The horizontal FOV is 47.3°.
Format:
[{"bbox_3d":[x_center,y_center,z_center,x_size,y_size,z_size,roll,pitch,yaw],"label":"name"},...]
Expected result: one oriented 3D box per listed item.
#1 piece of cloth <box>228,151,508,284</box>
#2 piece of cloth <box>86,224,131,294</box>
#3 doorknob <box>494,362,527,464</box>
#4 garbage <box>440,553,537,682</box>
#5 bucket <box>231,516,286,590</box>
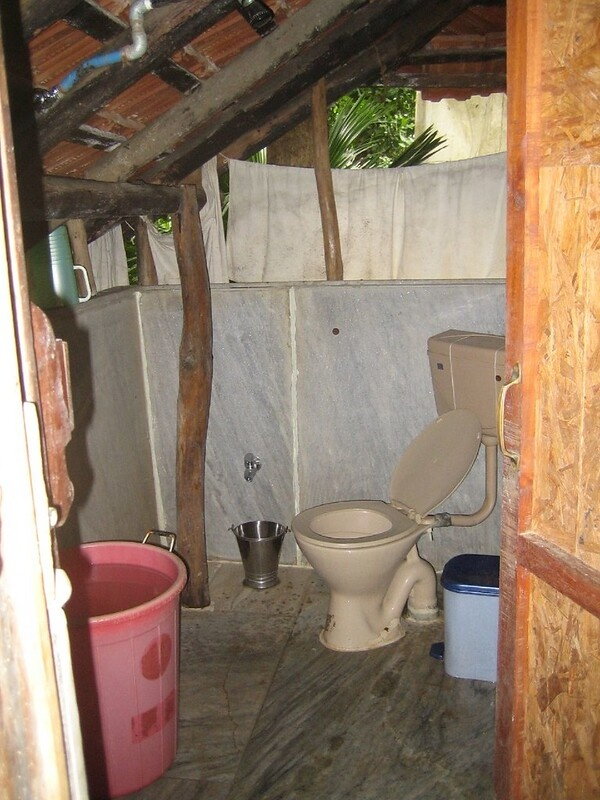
[{"bbox_3d":[0.345,-0.967,3.649,1.489,0.649,0.103,-1,9,0],"label":"piece of cloth"},{"bbox_3d":[-1.061,-0.771,3.829,0.192,0.335,0.031,-2,-3,-19],"label":"piece of cloth"},{"bbox_3d":[0.415,0.034,1.356,0.049,0.207,0.042,1,3,25],"label":"doorknob"},{"bbox_3d":[0.653,0.813,2.495,0.343,0.328,0.258,3,-1,4],"label":"garbage"},{"bbox_3d":[-0.202,0.705,3.284,0.338,0.290,0.276,-2,10,-18],"label":"bucket"}]
